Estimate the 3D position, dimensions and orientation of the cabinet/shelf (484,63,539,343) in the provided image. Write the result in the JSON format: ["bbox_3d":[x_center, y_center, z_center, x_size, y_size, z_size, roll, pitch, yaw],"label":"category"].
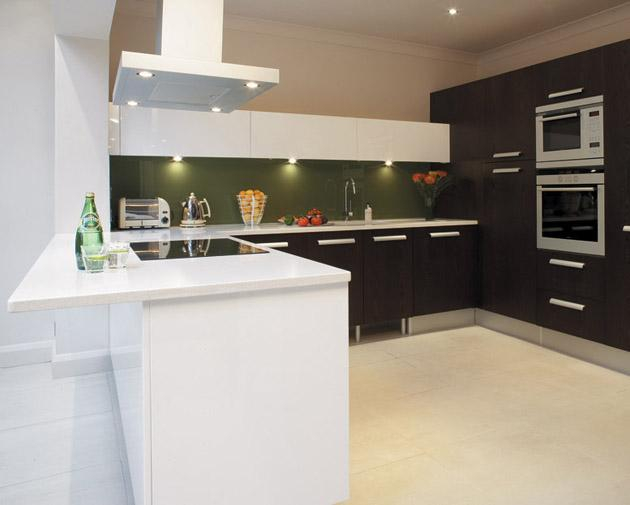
[{"bbox_3d":[1.776,-0.465,4.578,0.511,2.256,0.312,-1,22,19],"label":"cabinet/shelf"}]

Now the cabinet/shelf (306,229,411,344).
[{"bbox_3d":[0.419,0.232,4.694,0.979,1.042,0.598,-3,10,-9],"label":"cabinet/shelf"}]

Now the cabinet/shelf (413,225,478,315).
[{"bbox_3d":[1.309,0.159,5.022,0.537,0.836,0.655,-2,-2,11],"label":"cabinet/shelf"}]

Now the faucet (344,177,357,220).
[{"bbox_3d":[0.359,-0.544,4.955,0.137,0.403,0.059,-2,9,-8],"label":"faucet"}]

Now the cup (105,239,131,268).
[{"bbox_3d":[-0.882,0.001,2.242,0.096,0.127,0.109,0,-5,7],"label":"cup"}]

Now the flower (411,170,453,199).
[{"bbox_3d":[1.206,-0.715,5.081,0.329,0.254,0.519,6,13,31],"label":"flower"}]

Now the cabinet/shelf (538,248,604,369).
[{"bbox_3d":[2.209,0.338,4.133,0.464,0.819,0.577,-7,8,-30],"label":"cabinet/shelf"}]

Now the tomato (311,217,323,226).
[{"bbox_3d":[0.014,-0.274,4.458,0.069,0.075,0.071,-2,-7,39],"label":"tomato"}]

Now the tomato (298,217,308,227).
[{"bbox_3d":[-0.104,-0.274,4.398,0.068,0.084,0.077,2,0,-3],"label":"tomato"}]

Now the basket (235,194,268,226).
[{"bbox_3d":[-0.552,-0.398,4.373,0.255,0.330,0.274,0,-3,-5],"label":"basket"}]

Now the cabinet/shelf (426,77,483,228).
[{"bbox_3d":[1.394,-0.942,5.273,0.610,1.619,0.485,-9,8,-26],"label":"cabinet/shelf"}]

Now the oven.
[{"bbox_3d":[2.189,-0.652,4.095,0.577,1.240,0.668,-10,10,-23],"label":"oven"}]

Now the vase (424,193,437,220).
[{"bbox_3d":[1.197,-0.477,5.096,0.086,0.269,0.424,2,11,19],"label":"vase"}]

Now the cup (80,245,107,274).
[{"bbox_3d":[-0.919,0.028,2.069,0.093,0.116,0.109,0,-3,-18],"label":"cup"}]

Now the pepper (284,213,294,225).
[{"bbox_3d":[-0.230,-0.299,4.433,0.071,0.082,0.074,3,12,25],"label":"pepper"}]

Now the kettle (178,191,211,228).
[{"bbox_3d":[-1.037,-0.360,4.236,0.320,0.399,0.232,2,-2,-42],"label":"kettle"}]
